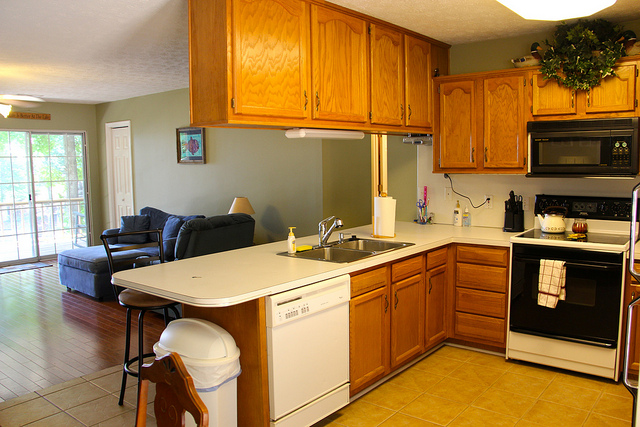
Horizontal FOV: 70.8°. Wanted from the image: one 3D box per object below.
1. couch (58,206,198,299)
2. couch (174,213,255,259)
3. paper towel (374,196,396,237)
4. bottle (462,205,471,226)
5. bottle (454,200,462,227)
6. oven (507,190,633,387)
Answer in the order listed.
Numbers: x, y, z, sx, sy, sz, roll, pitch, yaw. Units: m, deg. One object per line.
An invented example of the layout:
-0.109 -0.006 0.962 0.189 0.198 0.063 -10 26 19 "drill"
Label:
-2.904 0.759 7.023 1.806 1.191 1.725 3 3 38 "couch"
-1.444 0.274 6.020 0.555 0.588 0.943 22 24 36 "couch"
0.644 0.031 4.510 0.200 0.395 0.143 -1 10 6 "paper towel"
1.694 0.038 5.197 0.091 0.200 0.063 1 10 17 "bottle"
1.610 0.012 5.214 0.083 0.255 0.085 -2 10 0 "bottle"
2.437 0.660 4.444 0.940 1.630 0.836 3 11 31 "oven"
